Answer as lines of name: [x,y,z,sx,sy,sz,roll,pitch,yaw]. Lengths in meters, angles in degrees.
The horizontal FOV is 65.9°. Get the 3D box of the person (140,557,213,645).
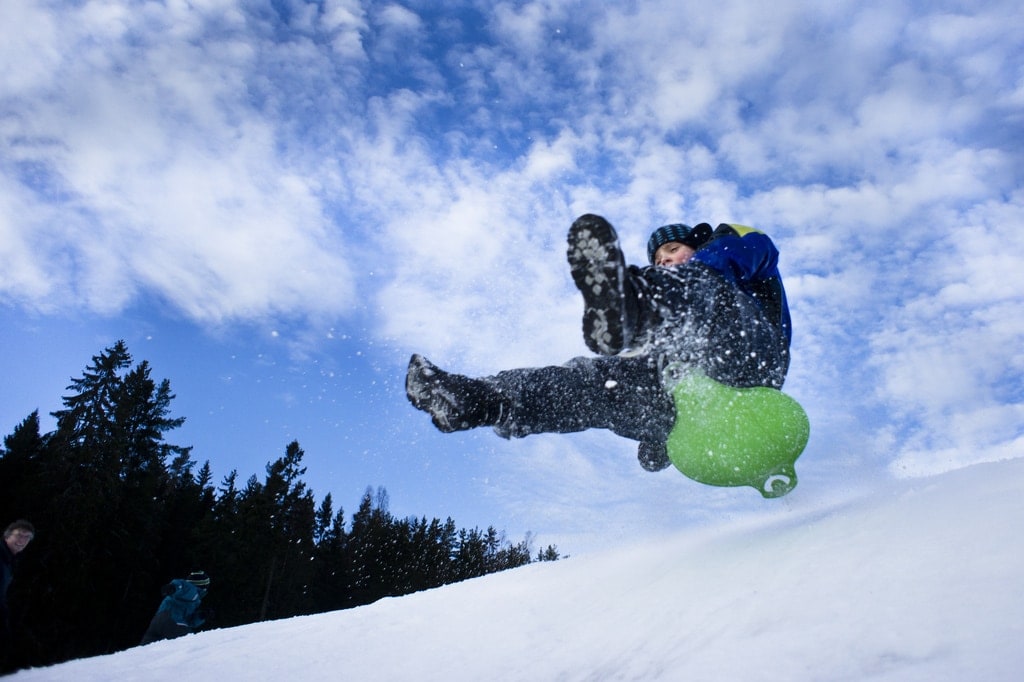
person: [-6.476,5.082,15.287,0.841,1.382,1.234,-8,-29,9]
